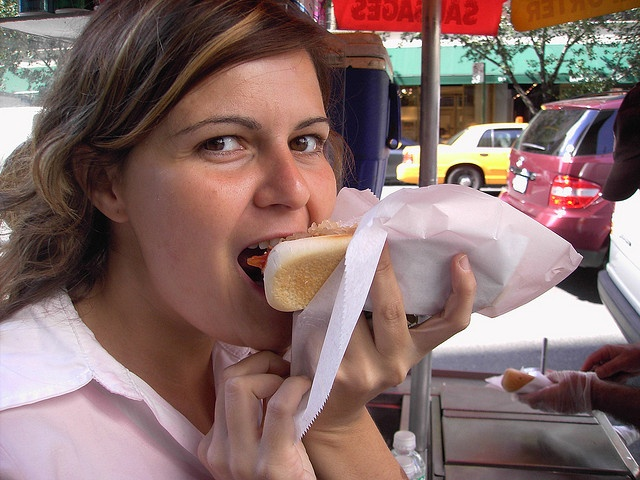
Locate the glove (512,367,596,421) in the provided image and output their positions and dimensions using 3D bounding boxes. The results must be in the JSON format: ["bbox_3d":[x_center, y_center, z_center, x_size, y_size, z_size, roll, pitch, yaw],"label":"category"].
[{"bbox_3d":[1.108,0.723,2.437,0.246,0.105,0.197,-2,-1,16],"label":"glove"}]
